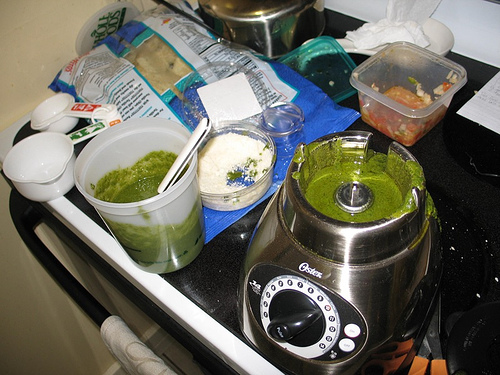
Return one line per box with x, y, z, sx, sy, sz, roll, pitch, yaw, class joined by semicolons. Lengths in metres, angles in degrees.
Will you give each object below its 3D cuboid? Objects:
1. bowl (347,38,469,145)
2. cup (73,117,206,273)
0.301;-0.239;0.858;0.225;0.124;0.247;-40;57;-13;bowl
-0.180;0.022;0.707;0.190;0.213;0.195;-2;48;2;cup
